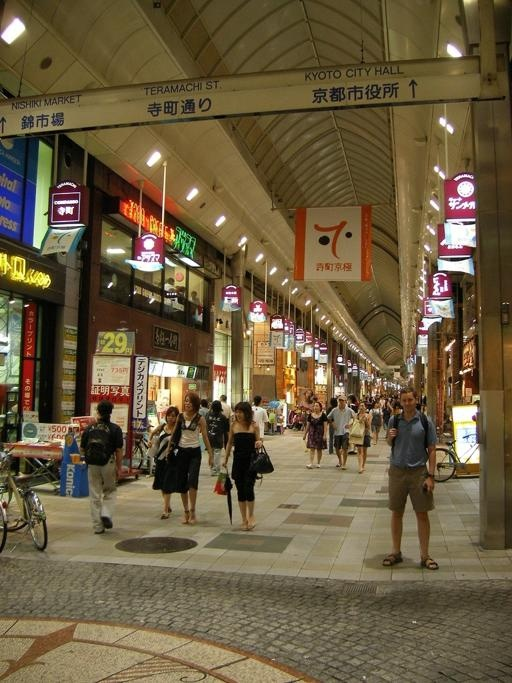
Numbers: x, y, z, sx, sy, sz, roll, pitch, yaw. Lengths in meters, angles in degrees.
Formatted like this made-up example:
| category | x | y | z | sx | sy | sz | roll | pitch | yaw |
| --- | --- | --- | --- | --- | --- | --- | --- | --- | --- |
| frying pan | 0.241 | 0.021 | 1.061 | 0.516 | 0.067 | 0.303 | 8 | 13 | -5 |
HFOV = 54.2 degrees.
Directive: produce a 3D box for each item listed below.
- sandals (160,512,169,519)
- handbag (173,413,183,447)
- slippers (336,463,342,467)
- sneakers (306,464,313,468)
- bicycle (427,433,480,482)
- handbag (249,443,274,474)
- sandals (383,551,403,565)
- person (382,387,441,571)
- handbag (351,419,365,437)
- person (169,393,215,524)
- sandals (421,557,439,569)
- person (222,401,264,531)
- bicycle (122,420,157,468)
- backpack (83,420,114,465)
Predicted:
| category | x | y | z | sx | sy | sz | roll | pitch | yaw |
| --- | --- | --- | --- | --- | --- | --- | --- | --- | --- |
| sandals | -1.264 | 2.450 | 6.959 | 0.112 | 0.086 | 0.222 | 2 | -12 | -10 |
| handbag | -1.068 | 1.236 | 6.798 | 0.145 | 0.444 | 0.085 | 2 | -12 | -9 |
| slippers | 2.243 | 3.370 | 13.465 | 0.147 | 0.110 | 0.395 | -1 | -13 | 9 |
| sneakers | 1.385 | 3.279 | 12.916 | 0.076 | 0.097 | 0.231 | -8 | -30 | 12 |
| bicycle | 4.469 | 2.556 | 10.711 | 1.486 | 0.909 | 0.653 | -3 | -32 | 21 |
| handbag | 0.090 | 1.465 | 6.116 | 0.238 | 0.321 | 0.302 | -4 | -12 | 19 |
| sandals | 1.281 | 2.078 | 4.733 | 0.264 | 0.097 | 0.095 | 7 | -12 | -37 |
| person | 1.457 | 1.315 | 4.784 | 0.530 | 1.629 | 0.824 | -2 | -12 | 13 |
| handbag | 2.531 | 2.176 | 12.312 | 0.366 | 0.478 | 0.190 | -3 | -35 | 24 |
| person | -0.929 | 1.616 | 6.990 | 0.496 | 1.757 | 0.678 | 1 | -11 | -1 |
| sandals | 1.573 | 2.035 | 4.530 | 0.152 | 0.082 | 0.138 | -4 | -12 | 21 |
| person | -0.169 | 1.601 | 6.431 | 0.471 | 1.603 | 0.959 | 1 | -11 | 0 |
| bicycle | -2.845 | 2.507 | 12.358 | 0.439 | 0.653 | 1.061 | 22 | -53 | -28 |
| backpack | -1.981 | 1.299 | 6.308 | 0.342 | 0.522 | 0.288 | 6 | -1 | -6 |
